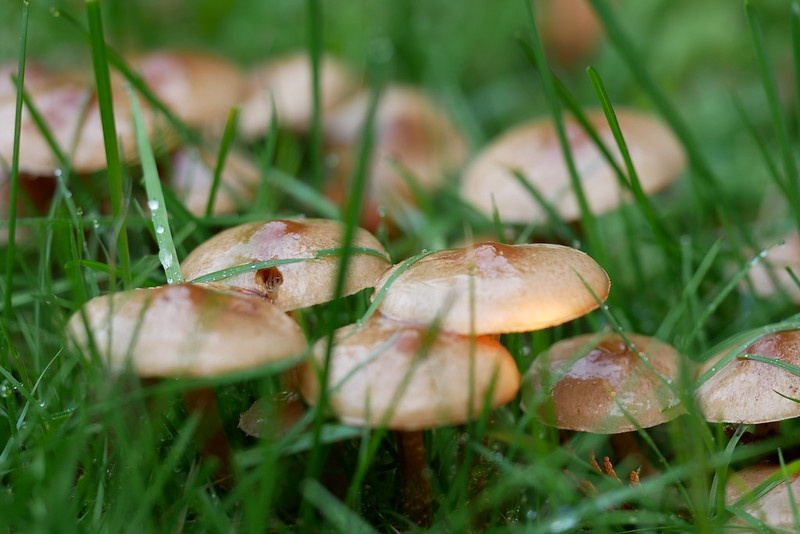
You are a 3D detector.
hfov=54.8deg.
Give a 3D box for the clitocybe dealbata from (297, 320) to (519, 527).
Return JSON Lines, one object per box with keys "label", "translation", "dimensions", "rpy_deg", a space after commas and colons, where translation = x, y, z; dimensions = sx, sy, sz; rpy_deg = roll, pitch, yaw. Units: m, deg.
{"label": "clitocybe dealbata", "translation": [-0.004, 0.225, 1.656], "dimensions": [0.351, 0.430, 0.389], "rpy_deg": [-6, 13, -23]}
